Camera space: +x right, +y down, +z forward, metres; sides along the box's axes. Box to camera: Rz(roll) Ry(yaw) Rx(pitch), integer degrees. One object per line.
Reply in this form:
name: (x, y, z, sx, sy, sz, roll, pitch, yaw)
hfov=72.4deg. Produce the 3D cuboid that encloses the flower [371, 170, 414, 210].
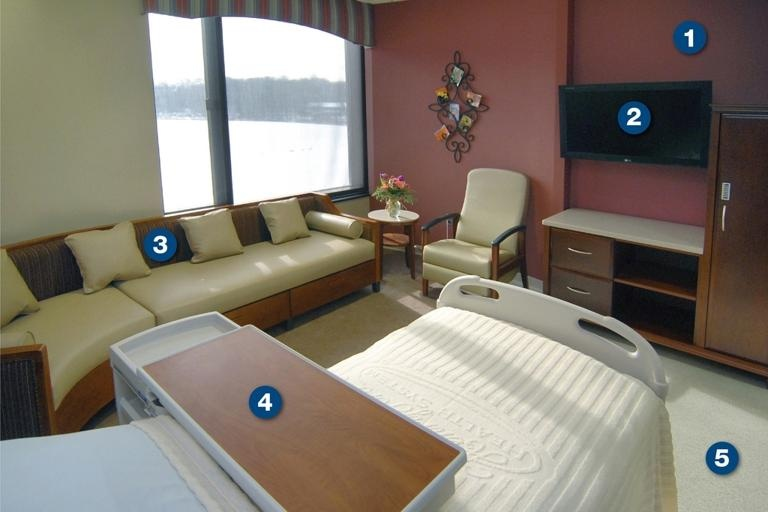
flower: (0.090, -0.677, 5.532, 0.407, 0.396, 0.422, 2, 0, -11)

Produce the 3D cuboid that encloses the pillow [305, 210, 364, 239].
pillow: (-0.500, -0.299, 5.271, 0.228, 0.253, 0.728, 4, 8, -45)

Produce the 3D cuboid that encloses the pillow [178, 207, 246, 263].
pillow: (-1.525, -0.164, 4.579, 0.398, 0.349, 0.205, -17, 19, -33)

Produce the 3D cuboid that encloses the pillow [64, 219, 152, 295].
pillow: (-2.156, 0.026, 4.025, 0.221, 0.391, 0.460, 12, 22, 40)
